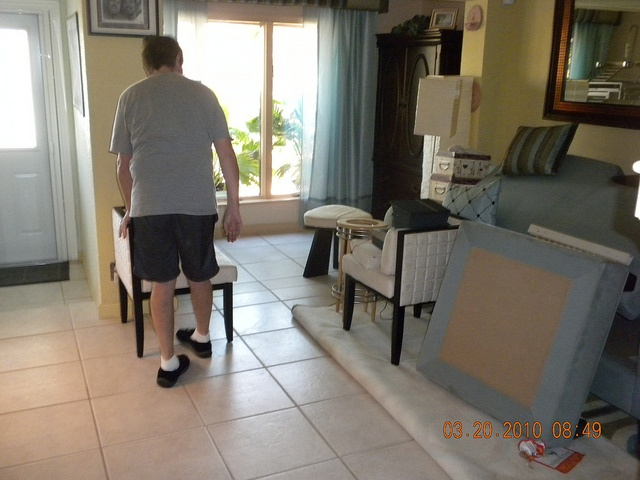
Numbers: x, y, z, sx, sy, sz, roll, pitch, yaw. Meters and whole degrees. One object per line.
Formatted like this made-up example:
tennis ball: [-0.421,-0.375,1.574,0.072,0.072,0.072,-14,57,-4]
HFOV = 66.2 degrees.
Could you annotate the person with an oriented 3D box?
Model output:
person: [-0.818,-0.165,2.941,0.733,1.969,0.610,-9,22,-23]

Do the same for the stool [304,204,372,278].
stool: [0.161,0.032,4.710,0.661,0.701,0.652,1,13,-2]

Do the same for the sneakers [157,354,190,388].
sneakers: [-0.893,0.808,3.015,0.090,0.117,0.268,5,18,9]

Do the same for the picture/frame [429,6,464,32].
picture/frame: [1.208,-2.194,4.893,0.286,0.194,0.186,13,23,31]

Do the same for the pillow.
pillow: [1.572,-0.659,3.602,0.250,0.395,0.474,-11,23,-29]

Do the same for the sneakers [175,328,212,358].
sneakers: [-0.863,0.675,3.320,0.118,0.126,0.318,-12,34,-43]

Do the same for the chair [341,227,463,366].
chair: [0.530,0.356,3.154,0.555,0.810,0.553,-14,34,-35]

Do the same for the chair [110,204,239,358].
chair: [-1.064,0.236,3.717,0.894,1.175,1.240,-8,18,-24]

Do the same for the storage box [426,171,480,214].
storage box: [1.007,-0.408,3.928,0.306,0.192,0.311,-8,20,-25]
